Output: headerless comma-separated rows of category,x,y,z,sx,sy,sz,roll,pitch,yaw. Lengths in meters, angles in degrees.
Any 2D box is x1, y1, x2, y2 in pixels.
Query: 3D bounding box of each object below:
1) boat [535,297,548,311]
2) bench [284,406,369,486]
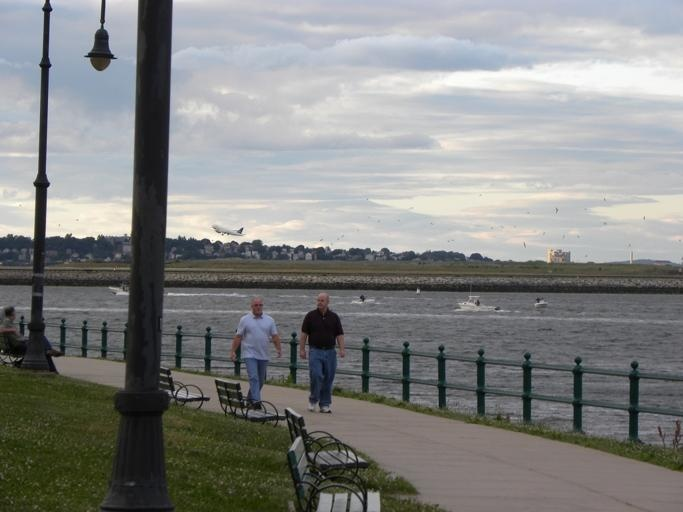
boat,18.186,4.412,126.730,1.165,1.382,3.508,0,-1,4
bench,-0.254,2.827,23.728,1.240,1.066,2.500,-2,1,-10
